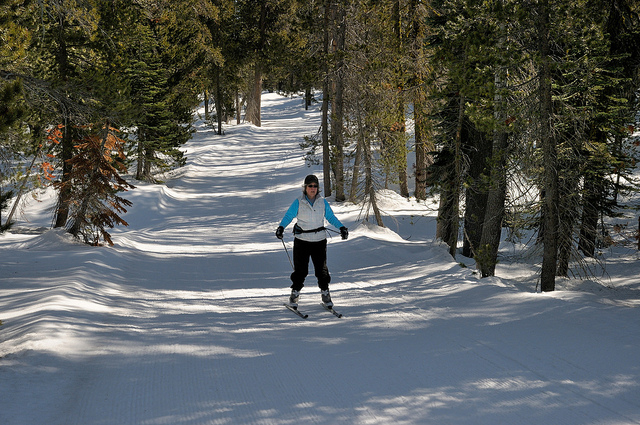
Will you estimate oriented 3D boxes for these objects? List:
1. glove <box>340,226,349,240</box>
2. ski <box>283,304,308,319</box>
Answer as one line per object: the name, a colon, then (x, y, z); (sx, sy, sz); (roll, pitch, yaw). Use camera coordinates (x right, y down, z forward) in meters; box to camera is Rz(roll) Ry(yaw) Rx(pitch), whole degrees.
glove: (0.640, 0.527, 15.120); (0.176, 0.270, 0.261); (-1, -6, -2)
ski: (-0.607, 2.547, 15.410); (0.161, 0.135, 1.130); (-24, 18, -21)
